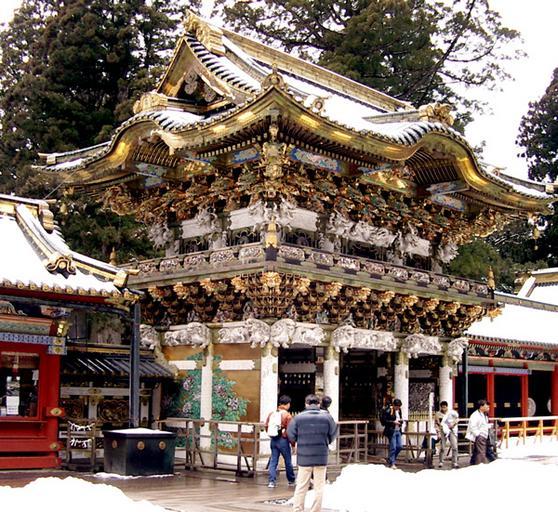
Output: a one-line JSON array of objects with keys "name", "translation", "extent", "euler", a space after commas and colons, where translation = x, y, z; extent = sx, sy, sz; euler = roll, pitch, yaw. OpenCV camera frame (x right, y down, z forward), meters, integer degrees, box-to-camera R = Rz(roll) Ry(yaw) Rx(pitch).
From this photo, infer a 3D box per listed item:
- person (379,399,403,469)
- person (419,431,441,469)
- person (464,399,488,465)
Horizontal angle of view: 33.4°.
[{"name": "person", "translation": [2.680, 4.200, 22.176], "extent": [0.510, 1.621, 1.238], "euler": [0, -13, 6]}, {"name": "person", "translation": [3.796, 4.894, 23.415], "extent": [0.413, 0.873, 1.028], "euler": [-1, -7, 4]}, {"name": "person", "translation": [4.511, 4.010, 21.188], "extent": [0.543, 1.421, 1.671], "euler": [-2, -12, 12]}]
